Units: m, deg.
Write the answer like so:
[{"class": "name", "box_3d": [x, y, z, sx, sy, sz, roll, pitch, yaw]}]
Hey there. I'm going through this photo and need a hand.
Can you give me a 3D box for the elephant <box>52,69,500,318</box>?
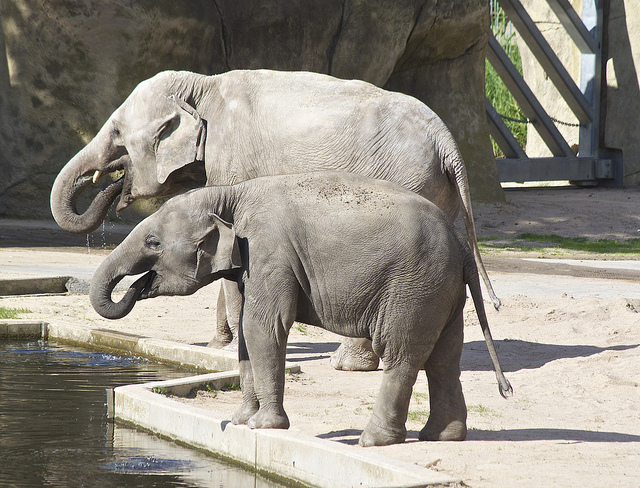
[{"class": "elephant", "box_3d": [-0.602, -0.531, 17.080, 5.768, 2.995, 2.226, 10, 11, 22]}]
